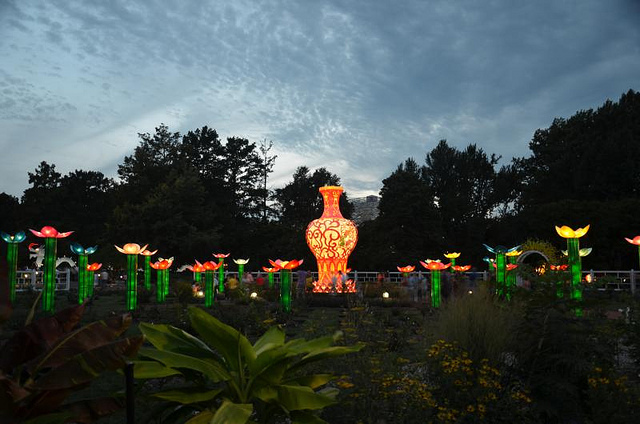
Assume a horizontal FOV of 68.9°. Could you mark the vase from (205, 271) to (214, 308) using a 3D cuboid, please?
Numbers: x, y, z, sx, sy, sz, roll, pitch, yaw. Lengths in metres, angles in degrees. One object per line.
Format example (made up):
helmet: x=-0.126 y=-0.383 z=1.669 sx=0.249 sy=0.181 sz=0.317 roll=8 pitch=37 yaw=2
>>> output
vase: x=-4.197 y=2.870 z=17.565 sx=0.277 sy=1.265 sz=0.479 roll=4 pitch=-10 yaw=-11

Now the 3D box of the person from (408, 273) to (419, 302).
person: x=4.220 y=3.403 z=21.059 sx=0.447 sy=1.141 sz=1.596 roll=0 pitch=-9 yaw=11
